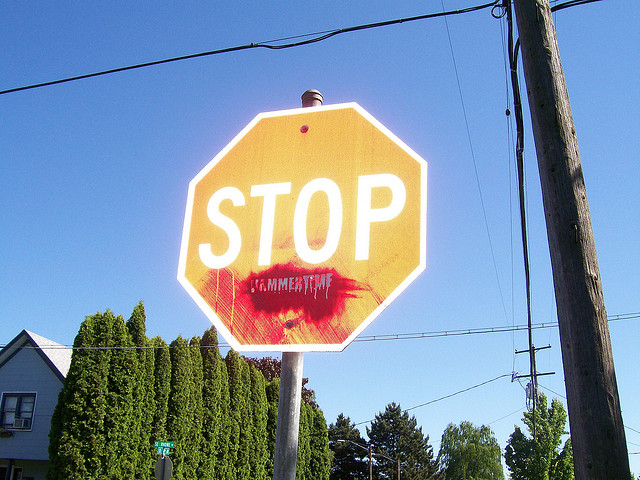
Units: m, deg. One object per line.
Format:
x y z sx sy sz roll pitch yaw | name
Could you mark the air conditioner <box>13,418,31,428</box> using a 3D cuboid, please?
-12.369 7.608 25.124 0.552 0.393 0.399 6 5 -3 | air conditioner
